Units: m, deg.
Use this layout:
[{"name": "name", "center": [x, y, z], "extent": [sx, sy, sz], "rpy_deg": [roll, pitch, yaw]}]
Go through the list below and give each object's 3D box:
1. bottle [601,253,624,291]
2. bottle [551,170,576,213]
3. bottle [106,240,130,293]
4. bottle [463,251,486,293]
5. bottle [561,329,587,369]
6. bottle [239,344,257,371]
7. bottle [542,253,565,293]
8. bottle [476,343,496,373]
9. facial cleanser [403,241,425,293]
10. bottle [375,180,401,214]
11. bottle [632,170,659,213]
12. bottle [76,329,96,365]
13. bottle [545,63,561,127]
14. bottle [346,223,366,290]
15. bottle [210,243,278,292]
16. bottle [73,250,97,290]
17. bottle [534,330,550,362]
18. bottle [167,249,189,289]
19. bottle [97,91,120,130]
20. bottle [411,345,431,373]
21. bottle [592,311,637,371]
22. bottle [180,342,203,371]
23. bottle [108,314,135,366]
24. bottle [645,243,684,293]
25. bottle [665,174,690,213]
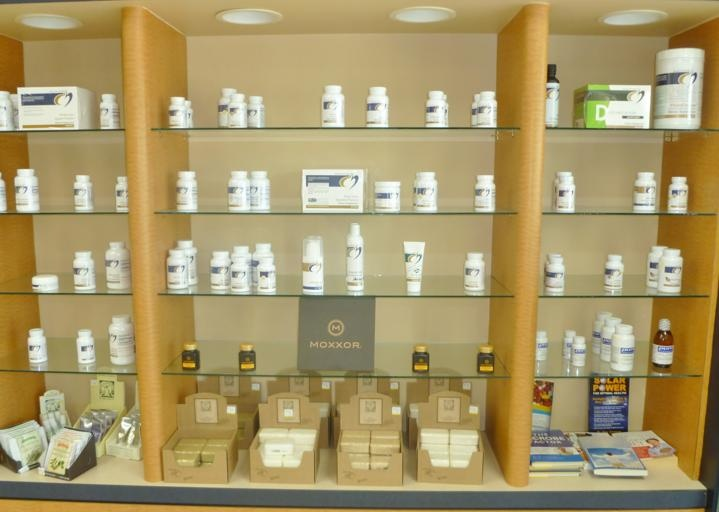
[{"name": "bottle", "center": [1.488, 0.099, 3.941], "extent": [0.106, 0.213, 0.204], "rpy_deg": [2, 3, 20]}, {"name": "bottle", "center": [1.174, -0.365, 3.870], "extent": [0.119, 0.231, 0.161], "rpy_deg": [1, 3, 15]}, {"name": "bottle", "center": [-1.409, 0.059, 3.919], "extent": [0.153, 0.283, 0.075], "rpy_deg": [1, 3, 1]}, {"name": "bottle", "center": [0.670, 0.094, 3.927], "extent": [0.119, 0.225, 0.163], "rpy_deg": [1, 3, 10]}, {"name": "bottle", "center": [1.306, 0.556, 4.052], "extent": [0.155, 0.208, 0.168], "rpy_deg": [1, 3, 0]}, {"name": "bottle", "center": [-0.666, 0.595, 4.011], "extent": [0.113, 0.156, 0.145], "rpy_deg": [0, 3, -10]}, {"name": "bottle", "center": [1.150, 0.099, 3.974], "extent": [0.120, 0.219, 0.330], "rpy_deg": [2, 3, 16]}, {"name": "bottle", "center": [0.757, 0.598, 3.930], "extent": [0.154, 0.162, 0.081], "rpy_deg": [-1, 3, -27]}, {"name": "facial cleanser", "center": [0.313, 0.066, 3.889], "extent": [0.104, 0.299, 0.185], "rpy_deg": [1, 3, 4]}, {"name": "bottle", "center": [0.156, -0.333, 3.752], "extent": [0.165, 0.172, 0.161], "rpy_deg": [-2, 7, -17]}, {"name": "bottle", "center": [1.655, -0.376, 3.915], "extent": [0.115, 0.251, 0.266], "rpy_deg": [2, 3, 22]}, {"name": "bottle", "center": [-1.654, 0.547, 4.079], "extent": [0.105, 0.208, 0.187], "rpy_deg": [-1, 3, -22]}, {"name": "bottle", "center": [1.087, -0.894, 3.790], "extent": [0.061, 0.364, 0.206], "rpy_deg": [2, 3, 19]}, {"name": "bottle", "center": [-0.029, 0.015, 3.821], "extent": [0.089, 0.389, 0.084], "rpy_deg": [1, 3, 0]}, {"name": "bottle", "center": [-0.662, 0.070, 3.850], "extent": [0.375, 0.279, 0.149], "rpy_deg": [0, 3, -8]}, {"name": "bottle", "center": [-1.601, 0.087, 3.936], "extent": [0.145, 0.228, 0.117], "rpy_deg": [3, 4, 33]}, {"name": "bottle", "center": [1.103, 0.534, 4.058], "extent": [0.050, 0.191, 0.238], "rpy_deg": [2, 3, 26]}, {"name": "bottle", "center": [-1.051, 0.080, 3.882], "extent": [0.115, 0.235, 0.073], "rpy_deg": [0, 3, -15]}, {"name": "bottle", "center": [-1.419, -0.817, 3.836], "extent": [0.109, 0.211, 0.127], "rpy_deg": [0, 3, -17]}, {"name": "bottle", "center": [0.355, 0.609, 4.004], "extent": [0.140, 0.192, 0.136], "rpy_deg": [0, 2, 0]}, {"name": "bottle", "center": [1.503, 0.508, 3.958], "extent": [0.189, 0.300, 0.353], "rpy_deg": [1, 4, 8]}, {"name": "bottle", "center": [-1.001, 0.589, 3.996], "extent": [0.114, 0.163, 0.167], "rpy_deg": [0, 3, -13]}, {"name": "bottle", "center": [-1.418, 0.500, 4.019], "extent": [0.176, 0.296, 0.088], "rpy_deg": [1, 3, 0]}, {"name": "bottle", "center": [1.757, 0.077, 3.895], "extent": [0.183, 0.265, 0.133], "rpy_deg": [2, 3, 26]}, {"name": "bottle", "center": [1.838, -0.358, 3.882], "extent": [0.111, 0.226, 0.223], "rpy_deg": [2, 3, 25]}]
